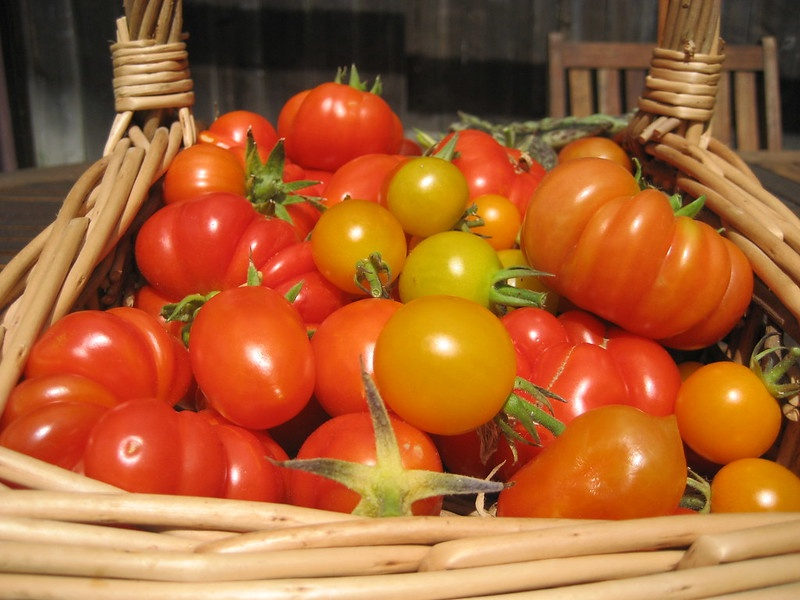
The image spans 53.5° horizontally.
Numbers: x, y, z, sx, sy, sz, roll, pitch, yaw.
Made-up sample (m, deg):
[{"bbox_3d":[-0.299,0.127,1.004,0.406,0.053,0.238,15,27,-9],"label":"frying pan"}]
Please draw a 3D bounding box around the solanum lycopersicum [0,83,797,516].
[{"bbox_3d":[0.033,0.103,1.011,0.670,0.271,0.594,4,37,-11],"label":"solanum lycopersicum"}]
